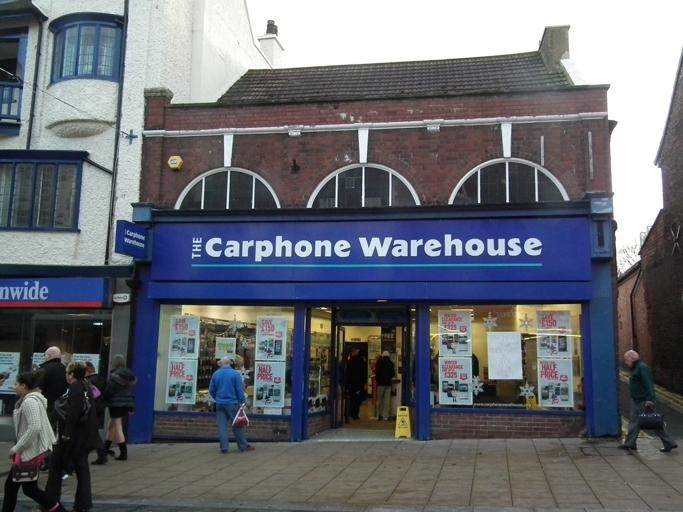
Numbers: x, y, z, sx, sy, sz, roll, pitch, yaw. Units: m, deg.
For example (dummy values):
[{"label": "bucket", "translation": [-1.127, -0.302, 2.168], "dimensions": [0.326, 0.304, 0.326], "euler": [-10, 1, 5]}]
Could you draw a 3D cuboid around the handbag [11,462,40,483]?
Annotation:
[{"label": "handbag", "translation": [-4.252, 2.914, 7.870], "dimensions": [0.336, 0.278, 0.237], "euler": [1, -6, -26]}]

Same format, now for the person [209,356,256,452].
[{"label": "person", "translation": [-2.436, 3.242, 12.858], "dimensions": [0.787, 2.019, 1.243], "euler": [2, -6, -32]}]

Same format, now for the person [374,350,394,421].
[{"label": "person", "translation": [1.267, 3.768, 16.642], "dimensions": [0.554, 1.901, 0.825], "euler": [-2, -5, 3]}]

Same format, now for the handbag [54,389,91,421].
[{"label": "handbag", "translation": [-4.067, 2.197, 8.842], "dimensions": [0.520, 0.545, 0.414], "euler": [-1, -21, 9]}]

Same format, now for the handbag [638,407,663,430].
[{"label": "handbag", "translation": [5.910, 3.156, 11.181], "dimensions": [0.432, 0.424, 0.431], "euler": [-4, -6, 21]}]

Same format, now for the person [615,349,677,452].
[{"label": "person", "translation": [6.029, 2.879, 11.615], "dimensions": [0.941, 1.940, 1.286], "euler": [-4, -6, 26]}]

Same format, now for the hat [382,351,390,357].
[{"label": "hat", "translation": [1.359, 2.994, 17.841], "dimensions": [0.202, 0.240, 0.277], "euler": [1, -12, -1]}]
